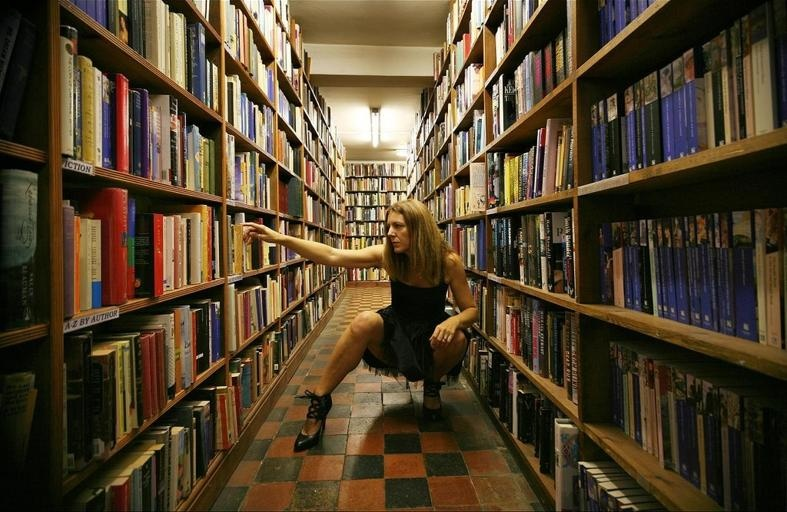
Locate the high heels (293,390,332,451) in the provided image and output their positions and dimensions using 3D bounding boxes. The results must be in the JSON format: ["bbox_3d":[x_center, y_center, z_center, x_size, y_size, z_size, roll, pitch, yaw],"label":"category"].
[{"bbox_3d":[-0.386,0.753,2.876,0.114,0.188,0.376,8,5,-1],"label":"high heels"}]
